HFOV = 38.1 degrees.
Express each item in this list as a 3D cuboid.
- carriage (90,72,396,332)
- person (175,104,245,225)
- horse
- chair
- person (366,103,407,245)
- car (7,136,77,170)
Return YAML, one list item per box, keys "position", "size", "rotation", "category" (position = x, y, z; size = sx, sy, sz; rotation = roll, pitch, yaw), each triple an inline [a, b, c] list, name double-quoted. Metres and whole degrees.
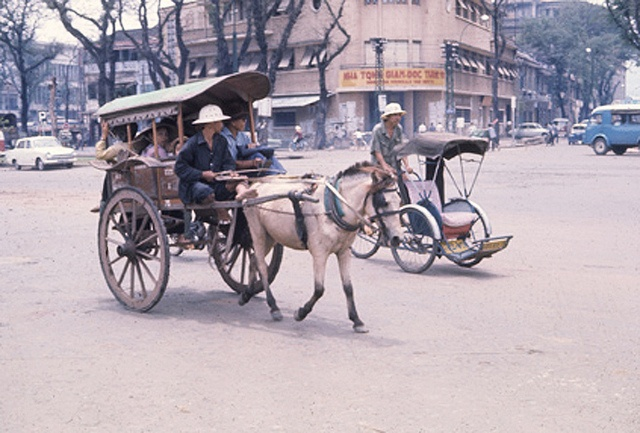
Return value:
- position: [-1.020, -0.318, 14.575]
  size: [5.794, 3.830, 2.717]
  rotation: [3, 5, 40]
  category: "carriage"
- position: [-1.762, -0.822, 14.251]
  size: [0.953, 1.748, 0.662]
  rotation: [-1, 6, -9]
  category: "person"
- position: [0.028, 0.414, 13.773]
  size: [2.537, 2.478, 0.639]
  rotation: [3, 7, 22]
  category: "horse"
- position: [2.038, -0.156, 16.707]
  size: [0.867, 1.175, 1.312]
  rotation: [-7, 8, -40]
  category: "chair"
- position: [1.303, -1.298, 17.099]
  size: [0.829, 1.820, 0.583]
  rotation: [0, 0, 37]
  category: "person"
- position: [-12.353, -2.790, 40.836]
  size: [3.284, 1.378, 1.542]
  rotation: [6, 8, 42]
  category: "car"
